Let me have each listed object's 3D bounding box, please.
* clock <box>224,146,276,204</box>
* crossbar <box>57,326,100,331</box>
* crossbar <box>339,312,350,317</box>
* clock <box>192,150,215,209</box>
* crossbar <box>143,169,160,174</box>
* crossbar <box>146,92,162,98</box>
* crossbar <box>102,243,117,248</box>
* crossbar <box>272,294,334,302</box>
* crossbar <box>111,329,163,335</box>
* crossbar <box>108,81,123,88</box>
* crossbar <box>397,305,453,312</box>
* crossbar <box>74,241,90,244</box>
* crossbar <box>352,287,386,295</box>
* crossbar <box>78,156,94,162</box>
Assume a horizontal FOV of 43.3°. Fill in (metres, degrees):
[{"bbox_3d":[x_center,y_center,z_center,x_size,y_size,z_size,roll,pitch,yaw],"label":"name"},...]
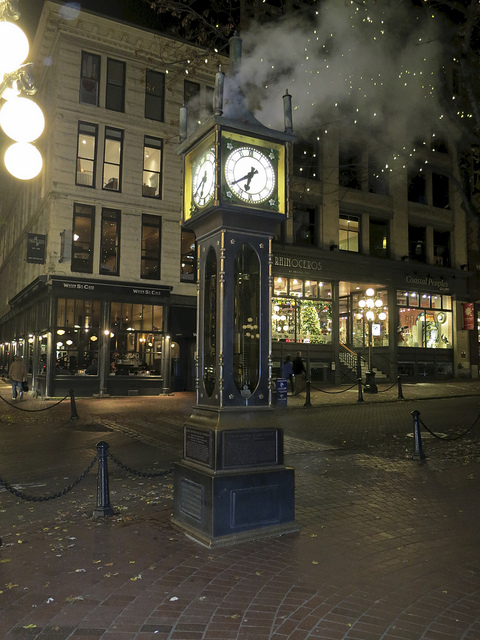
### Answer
[{"bbox_3d":[0.080,-1.469,6.148,0.549,0.586,0.032,-16,-4,-43],"label":"clock"},{"bbox_3d":[-6.349,0.330,23.849,1.701,0.114,0.111,4,-7,-38],"label":"crossbar"},{"bbox_3d":[5.664,-0.289,32.668,0.107,0.255,0.752,3,-6,-30],"label":"crossbar"},{"bbox_3d":[-0.362,-1.472,6.345,0.032,0.597,0.558,5,0,-30],"label":"clock"},{"bbox_3d":[-3.872,-6.451,26.150,0.614,0.102,0.066,3,-6,-29],"label":"crossbar"},{"bbox_3d":[-3.721,-9.774,26.235,0.690,0.108,0.052,3,-6,-32],"label":"crossbar"},{"bbox_3d":[-5.329,-3.098,24.875,0.617,0.160,0.089,-3,-42,-39],"label":"crossbar"},{"bbox_3d":[2.956,-1.019,27.873,3.304,0.157,0.189,3,-6,-29],"label":"crossbar"},{"bbox_3d":[-4.303,0.470,25.285,2.240,0.156,0.138,3,-6,-32],"label":"crossbar"},{"bbox_3d":[-5.171,-9.804,25.175,0.070,0.099,0.649,24,15,32],"label":"crossbar"},{"bbox_3d":[9.932,-0.626,32.409,4.345,0.195,0.167,4,-7,-34],"label":"crossbar"},{"bbox_3d":[-6.277,-3.097,24.082,0.600,0.096,0.070,4,-7,-33],"label":"crossbar"},{"bbox_3d":[6.660,-1.494,31.542,0.399,0.239,2.059,5,-7,-42],"label":"crossbar"},{"bbox_3d":[-6.187,-6.490,24.348,0.610,0.131,0.077,3,-6,-29],"label":"crossbar"}]
